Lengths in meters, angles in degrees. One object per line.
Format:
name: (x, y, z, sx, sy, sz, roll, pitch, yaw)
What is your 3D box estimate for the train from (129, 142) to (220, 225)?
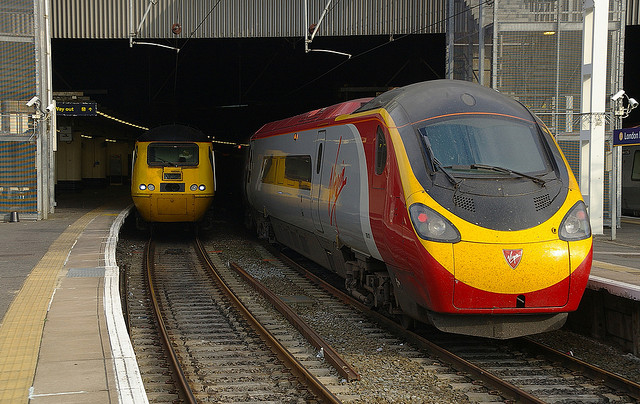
train: (-5.028, -0.980, 20.921, 3.547, 3.006, 7.068, 1, 3, 0)

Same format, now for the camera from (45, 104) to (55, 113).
camera: (-11.233, -3.884, 21.245, 0.361, 0.344, 0.284, -4, 7, -26)

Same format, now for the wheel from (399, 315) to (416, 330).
wheel: (1.597, 2.198, 9.306, 0.312, 0.333, 0.330, -5, 1, 0)

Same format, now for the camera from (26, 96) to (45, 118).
camera: (-11.760, -3.913, 21.154, 0.585, 0.855, 0.549, -5, 8, -29)
